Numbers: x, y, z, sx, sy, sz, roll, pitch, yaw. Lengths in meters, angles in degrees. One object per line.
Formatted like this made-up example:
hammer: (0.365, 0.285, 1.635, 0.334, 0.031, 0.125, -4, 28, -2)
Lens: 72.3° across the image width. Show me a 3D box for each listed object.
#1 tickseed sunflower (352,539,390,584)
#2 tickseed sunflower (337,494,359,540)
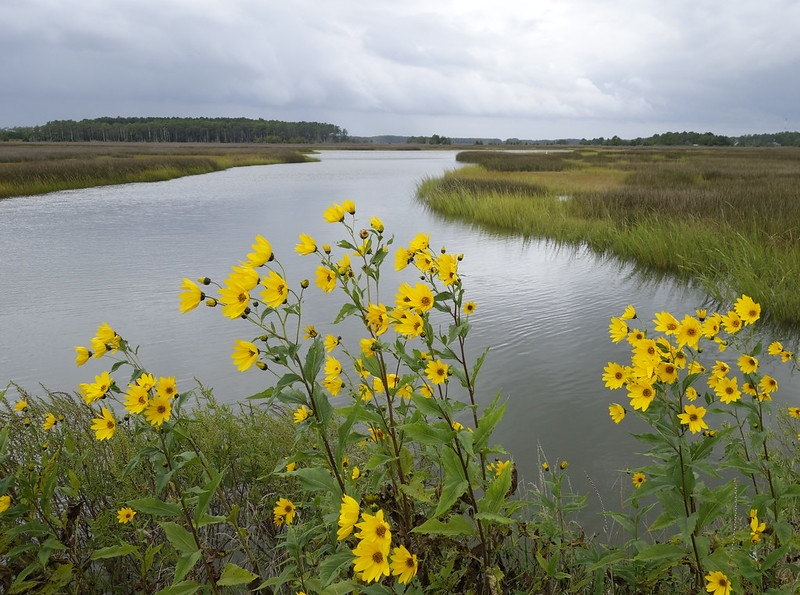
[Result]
tickseed sunflower: (-0.124, 1.141, 2.329, 0.146, 0.202, 0.093, -1, 16, -8)
tickseed sunflower: (-0.232, 0.985, 2.438, 0.076, 0.169, 0.193, 5, 60, -3)
